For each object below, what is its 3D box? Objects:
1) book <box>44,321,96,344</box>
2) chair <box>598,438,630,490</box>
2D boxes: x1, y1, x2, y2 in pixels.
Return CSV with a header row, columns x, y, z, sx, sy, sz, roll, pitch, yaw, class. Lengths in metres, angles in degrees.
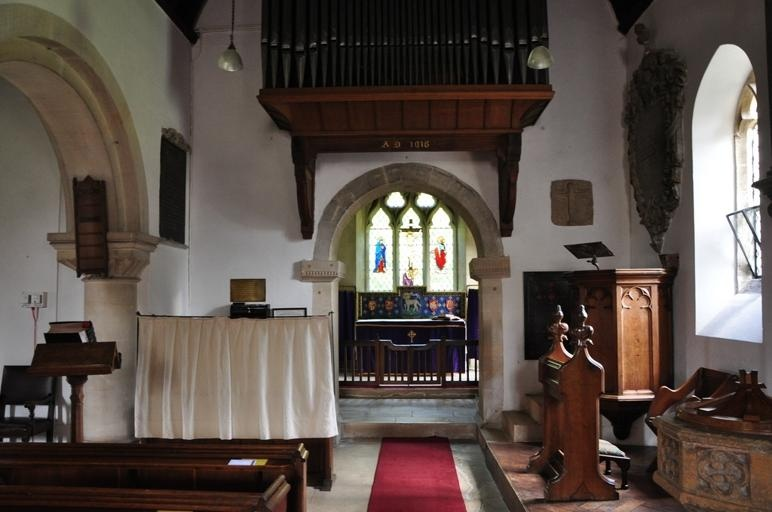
x,y,z,sx,sy,sz,roll,pitch,yaw,class
-3.465,0.854,8.109,0.489,0.269,0.279,-9,9,-19,book
2.579,2.266,8.358,0.465,0.331,0.660,-1,-6,17,chair
